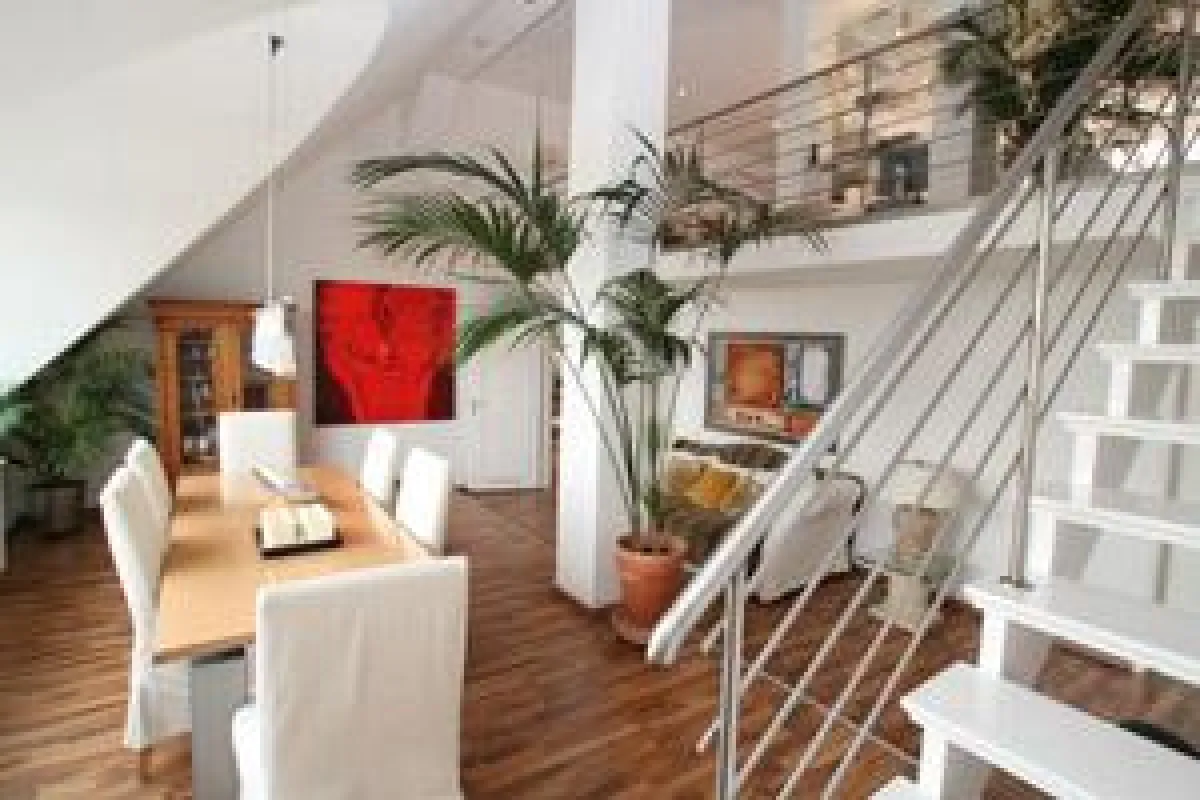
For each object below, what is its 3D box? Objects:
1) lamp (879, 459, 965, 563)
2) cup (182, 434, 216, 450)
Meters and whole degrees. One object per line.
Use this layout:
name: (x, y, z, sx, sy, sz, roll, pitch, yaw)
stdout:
lamp: (2.339, 0.802, 5.448, 0.528, 0.691, 0.908, 2, 7, 23)
cup: (-3.788, 0.398, 7.014, 0.197, 0.134, 0.126, -2, 13, -13)
